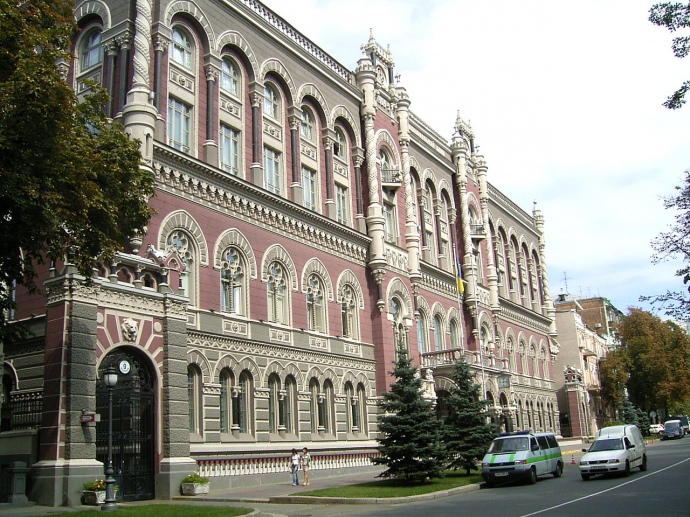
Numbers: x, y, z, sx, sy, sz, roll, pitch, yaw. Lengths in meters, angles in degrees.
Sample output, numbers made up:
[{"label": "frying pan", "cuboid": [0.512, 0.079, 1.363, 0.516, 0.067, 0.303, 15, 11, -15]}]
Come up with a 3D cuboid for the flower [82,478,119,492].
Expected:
[{"label": "flower", "cuboid": [-8.494, 7.707, 24.343, 0.750, 0.378, 0.761, -2, -3, 10]}]

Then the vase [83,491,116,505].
[{"label": "vase", "cuboid": [-8.473, 8.070, 24.118, 0.564, 0.429, 0.681, 11, -22, -33]}]

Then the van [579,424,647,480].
[{"label": "van", "cuboid": [12.087, 8.820, 32.523, 1.933, 1.866, 4.435, -15, -28, 29]}]

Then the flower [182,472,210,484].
[{"label": "flower", "cuboid": [-5.676, 8.388, 27.321, 0.535, 0.254, 0.533, 0, -13, 14]}]

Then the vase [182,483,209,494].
[{"label": "vase", "cuboid": [-5.695, 8.730, 27.120, 0.990, 0.479, 0.496, 5, -23, -26]}]
